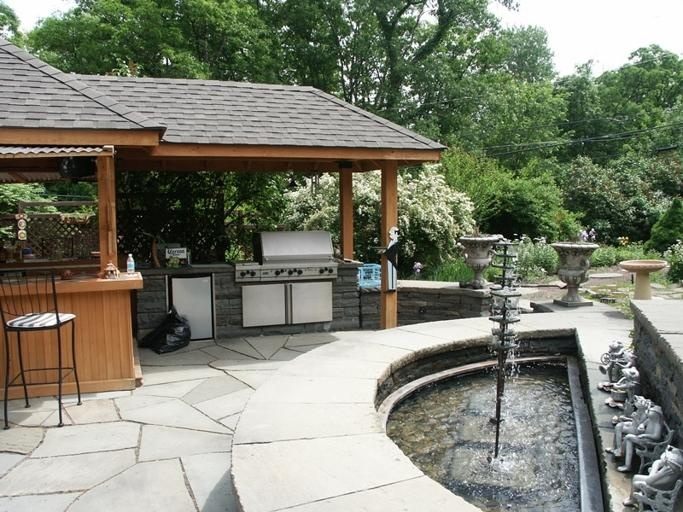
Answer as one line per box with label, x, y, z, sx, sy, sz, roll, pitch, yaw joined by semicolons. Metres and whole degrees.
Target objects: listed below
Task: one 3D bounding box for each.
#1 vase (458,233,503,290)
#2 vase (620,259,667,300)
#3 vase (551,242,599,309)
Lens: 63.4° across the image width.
vase;2.464;0.060;10.133;0.657;0.982;0.850;5;14;11
vase;5.145;0.445;9.477;0.646;0.598;0.640;-5;5;-25
vase;3.984;0.295;9.470;0.549;1.090;0.542;1;14;-7
